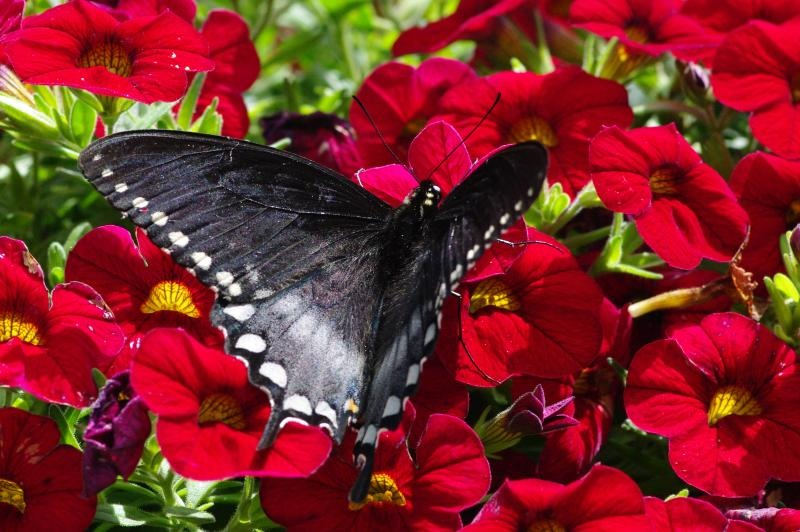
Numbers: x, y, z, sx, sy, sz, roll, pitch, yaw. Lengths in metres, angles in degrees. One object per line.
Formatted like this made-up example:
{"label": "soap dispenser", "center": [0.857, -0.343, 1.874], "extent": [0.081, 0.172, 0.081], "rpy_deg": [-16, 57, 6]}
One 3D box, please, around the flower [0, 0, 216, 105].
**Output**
{"label": "flower", "center": [-0.384, -0.280, 1.156], "extent": [0.175, 0.186, 0.073], "rpy_deg": [29, -57, 17]}
